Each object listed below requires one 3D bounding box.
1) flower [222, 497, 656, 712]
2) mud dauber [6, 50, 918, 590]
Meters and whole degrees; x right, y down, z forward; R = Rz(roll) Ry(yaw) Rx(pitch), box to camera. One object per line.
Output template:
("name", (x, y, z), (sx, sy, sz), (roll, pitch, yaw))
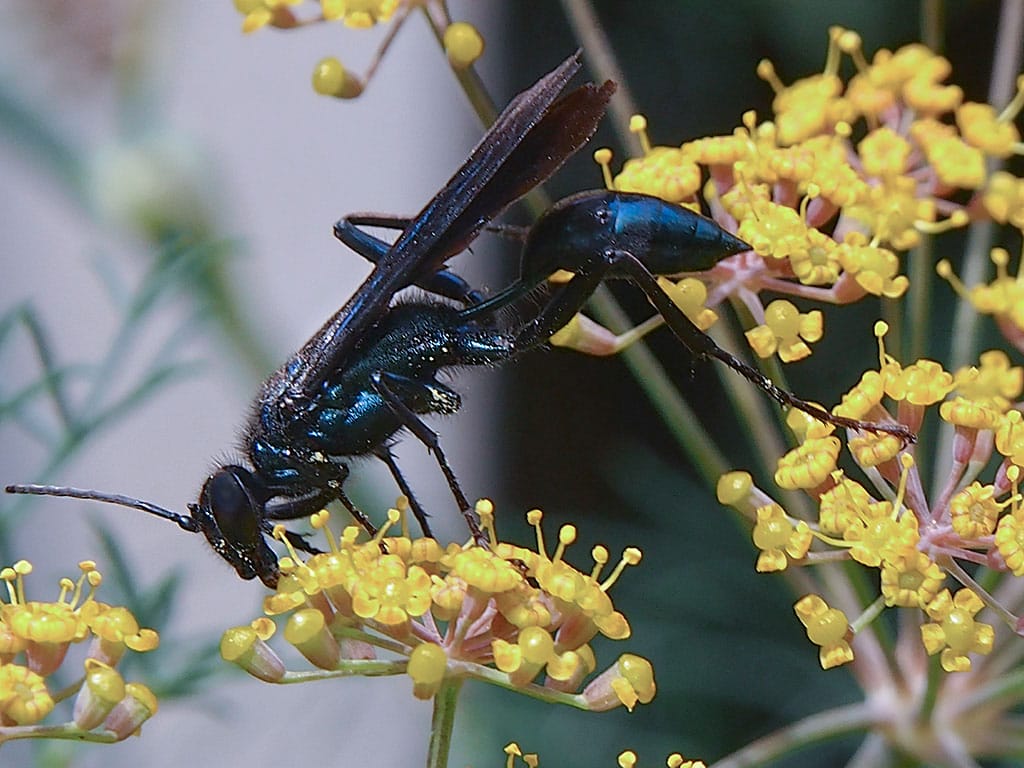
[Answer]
("flower", (-0.080, 0.256, 1.394), (0.317, 0.302, 0.302), (-3, 10, -11))
("mud dauber", (-0.041, -0.092, 1.723), (1.073, 0.544, 0.586), (-7, -11, -10))
